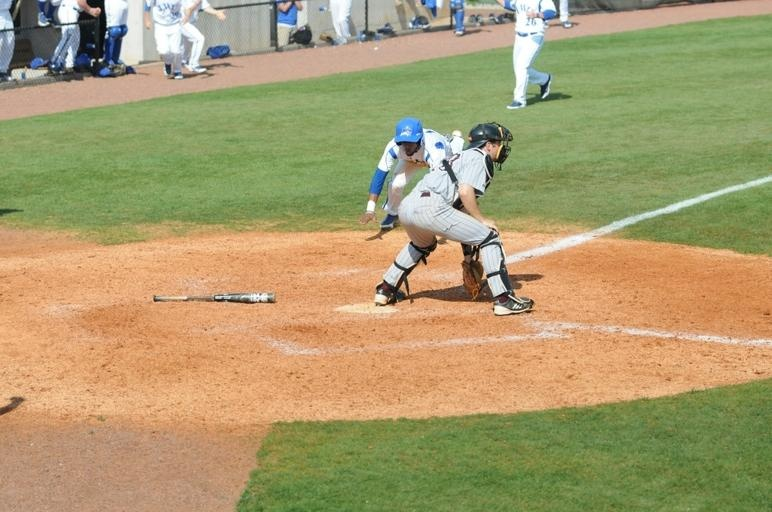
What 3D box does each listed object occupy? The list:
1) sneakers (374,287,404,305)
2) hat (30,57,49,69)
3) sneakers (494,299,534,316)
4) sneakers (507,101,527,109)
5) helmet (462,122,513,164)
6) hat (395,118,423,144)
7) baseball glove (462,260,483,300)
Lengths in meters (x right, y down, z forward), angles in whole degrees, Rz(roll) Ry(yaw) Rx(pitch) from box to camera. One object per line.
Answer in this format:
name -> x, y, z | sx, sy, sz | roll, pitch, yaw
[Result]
sneakers -> 0.085, 0.489, 13.013 | 0.183, 0.131, 0.392 | 11, 16, 33
hat -> -7.789, -4.307, 24.437 | 0.494, 0.224, 0.642 | -3, 4, -14
sneakers -> 1.481, 0.599, 12.540 | 0.495, 0.151, 0.172 | -5, 17, 5
sneakers -> 2.523, -2.789, 20.344 | 0.378, 0.111, 0.128 | -7, 23, -26
helmet -> 1.319, -1.346, 12.841 | 0.683, 0.433, 0.494 | -9, 16, -14
hat -> 0.310, -1.540, 13.595 | 0.310, 0.184, 0.378 | 1, 27, 14
baseball glove -> 1.122, 0.279, 12.976 | 0.230, 0.525, 0.241 | 5, 44, 19
